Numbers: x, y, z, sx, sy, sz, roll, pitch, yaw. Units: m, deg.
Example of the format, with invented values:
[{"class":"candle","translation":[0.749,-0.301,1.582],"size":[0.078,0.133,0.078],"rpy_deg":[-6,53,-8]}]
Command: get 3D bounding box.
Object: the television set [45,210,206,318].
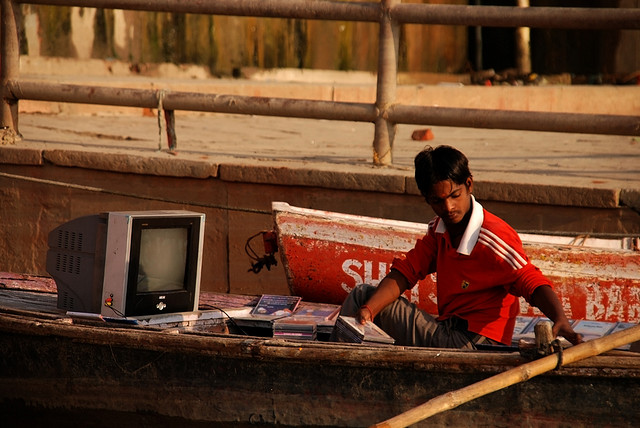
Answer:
[{"class":"television set","translation":[-1.685,0.336,10.867],"size":[1.008,0.816,1.018],"rpy_deg":[4,2,30]}]
